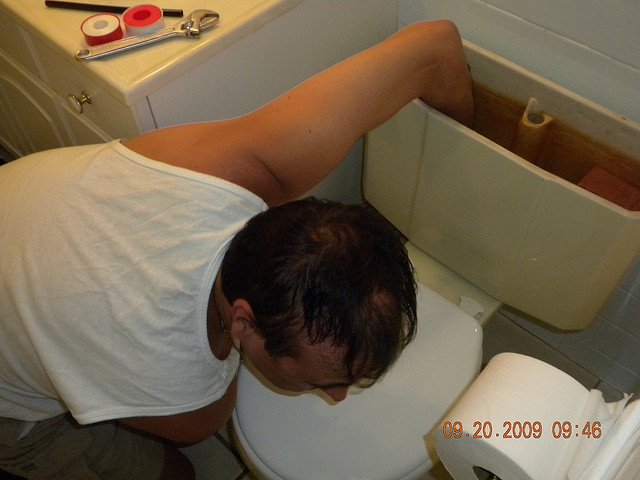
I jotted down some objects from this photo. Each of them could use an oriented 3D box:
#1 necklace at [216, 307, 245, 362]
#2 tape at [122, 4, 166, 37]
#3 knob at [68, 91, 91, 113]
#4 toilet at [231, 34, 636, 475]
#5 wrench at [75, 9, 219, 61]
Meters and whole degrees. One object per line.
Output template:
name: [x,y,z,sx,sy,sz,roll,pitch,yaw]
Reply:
necklace: [-0.151,0.167,0.889,0.033,0.080,0.048,-4,48,-4]
tape: [-0.328,-0.419,0.973,0.066,0.031,0.071,-11,41,-6]
knob: [-0.500,-0.292,1.070,0.032,0.032,0.025,46,62,8]
toilet: [0.186,0.004,0.868,0.364,0.626,0.585,34,66,18]
wrench: [-0.316,-0.377,0.948,0.267,0.030,0.058,-17,51,0]
